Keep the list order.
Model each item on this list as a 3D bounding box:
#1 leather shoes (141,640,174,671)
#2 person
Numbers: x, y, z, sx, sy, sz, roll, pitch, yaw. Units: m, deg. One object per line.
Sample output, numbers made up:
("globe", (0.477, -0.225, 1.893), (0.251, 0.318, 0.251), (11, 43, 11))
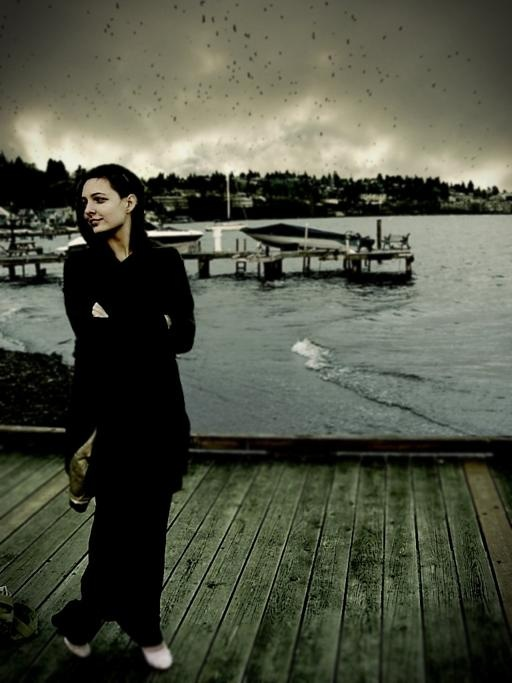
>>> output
("leather shoes", (-0.347, 1.061, 2.096), (0.061, 0.055, 0.132), (-7, 15, -39))
("person", (-0.477, 0.273, 2.040), (0.572, 1.705, 0.355), (-4, 11, -8))
